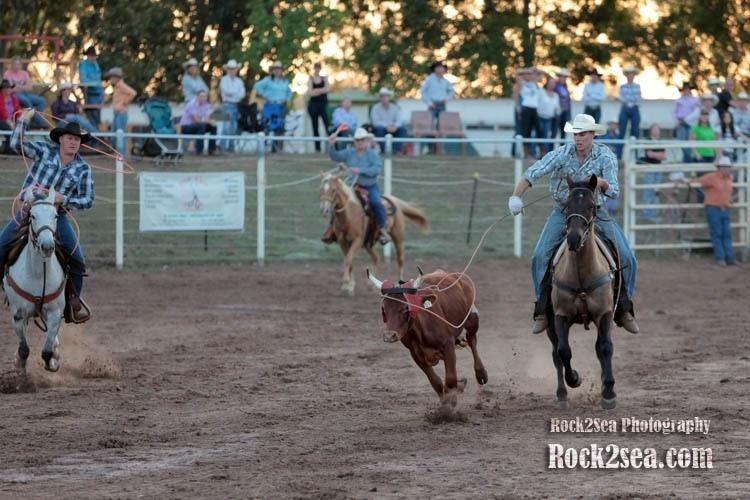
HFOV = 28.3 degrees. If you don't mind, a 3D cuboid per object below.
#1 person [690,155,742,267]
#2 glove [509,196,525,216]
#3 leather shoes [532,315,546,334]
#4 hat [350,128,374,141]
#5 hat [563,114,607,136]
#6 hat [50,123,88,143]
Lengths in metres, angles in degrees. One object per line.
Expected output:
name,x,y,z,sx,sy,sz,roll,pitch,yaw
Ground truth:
person,8.293,-0.963,36.055,0.782,1.927,0.671,-2,1,12
glove,2.664,-0.852,27.535,0.313,0.394,0.152,-13,-4,37
leather shoes,3.106,1.412,28.073,0.213,0.361,0.143,11,-26,43
hat,-0.313,-2.717,34.768,0.537,0.212,0.575,-1,-14,8
hat,3.972,-2.419,27.620,0.626,0.227,0.509,5,-5,-33
hat,-5.730,-2.335,28.456,0.495,0.207,0.540,-6,-8,23
